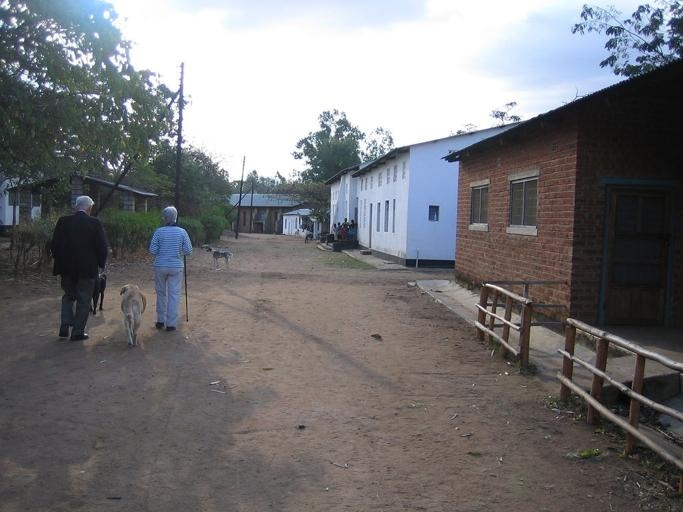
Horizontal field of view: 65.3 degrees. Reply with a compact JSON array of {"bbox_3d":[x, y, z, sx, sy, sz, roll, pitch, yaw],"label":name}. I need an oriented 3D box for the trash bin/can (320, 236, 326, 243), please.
[{"bbox_3d":[-1.626,-1.571,47.553,0.670,0.708,0.493,1,10,1],"label":"trash bin/can"}]

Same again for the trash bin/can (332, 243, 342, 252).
[{"bbox_3d":[-0.286,-0.723,37.842,0.706,0.760,0.531,0,-1,-2],"label":"trash bin/can"}]

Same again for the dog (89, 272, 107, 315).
[{"bbox_3d":[-5.188,0.705,11.419,0.287,0.721,1.229,4,2,-22],"label":"dog"}]

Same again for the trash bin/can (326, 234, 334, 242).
[{"bbox_3d":[-0.931,-1.605,44.349,0.826,0.869,0.463,0,-4,2],"label":"trash bin/can"}]

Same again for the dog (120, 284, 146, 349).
[{"bbox_3d":[-3.798,0.996,9.664,0.379,0.961,1.622,0,2,-23],"label":"dog"}]

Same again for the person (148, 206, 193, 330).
[{"bbox_3d":[-3.280,0.228,10.211,0.697,2.367,0.746,0,7,-21],"label":"person"}]

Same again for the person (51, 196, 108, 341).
[{"bbox_3d":[-4.549,0.197,9.296,0.861,2.477,0.563,2,6,-2],"label":"person"}]
